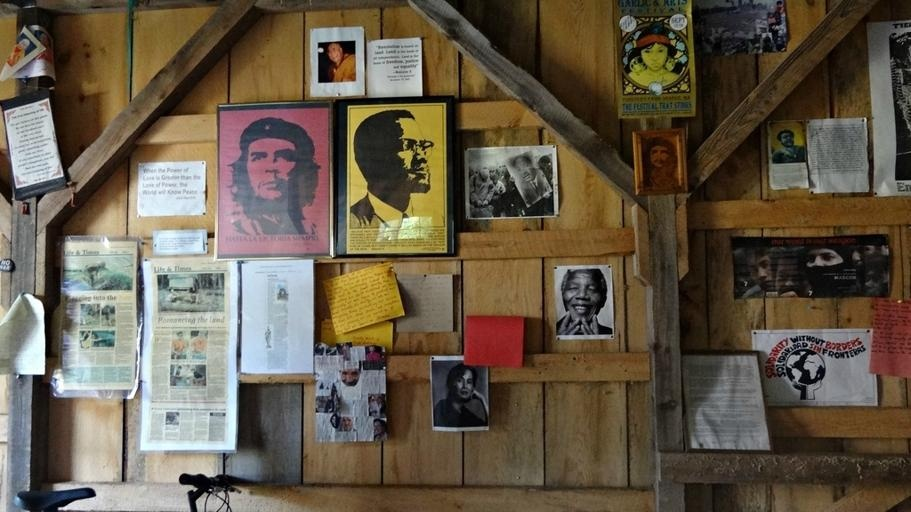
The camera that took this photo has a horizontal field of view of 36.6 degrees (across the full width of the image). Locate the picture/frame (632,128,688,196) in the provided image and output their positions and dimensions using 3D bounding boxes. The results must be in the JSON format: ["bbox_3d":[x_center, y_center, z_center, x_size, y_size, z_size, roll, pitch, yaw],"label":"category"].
[{"bbox_3d":[1.086,-0.499,7.299,0.357,0.416,0.062,-1,-5,5],"label":"picture/frame"}]

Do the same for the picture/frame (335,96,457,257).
[{"bbox_3d":[-0.301,-0.410,7.400,0.883,1.110,0.043,1,-2,1],"label":"picture/frame"}]
